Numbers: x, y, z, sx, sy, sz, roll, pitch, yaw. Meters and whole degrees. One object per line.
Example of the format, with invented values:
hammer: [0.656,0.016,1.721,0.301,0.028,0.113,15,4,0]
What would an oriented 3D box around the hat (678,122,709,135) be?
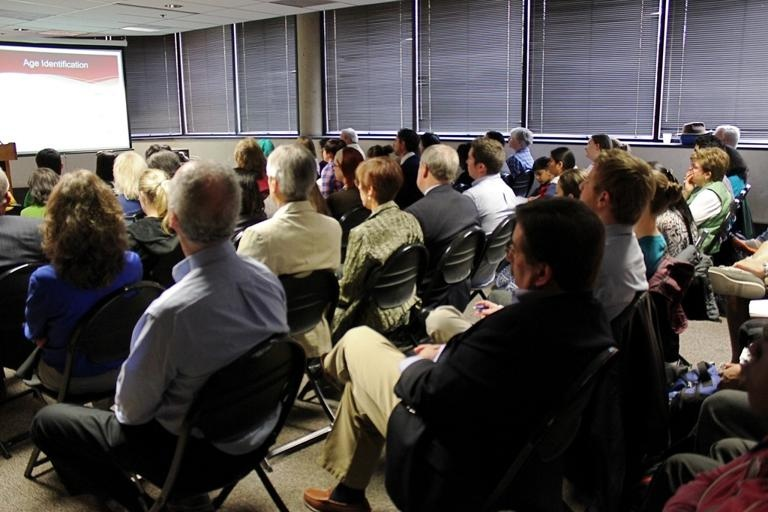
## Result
hat: [3.896,-1.637,6.587,0.229,0.108,0.281,-23,19,-35]

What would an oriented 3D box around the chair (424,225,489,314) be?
chair: [0.452,0.057,3.381,0.345,0.626,0.420,-19,35,-34]

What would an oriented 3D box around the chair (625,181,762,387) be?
chair: [1.387,0.056,2.767,0.806,1.029,0.764,-4,5,26]
